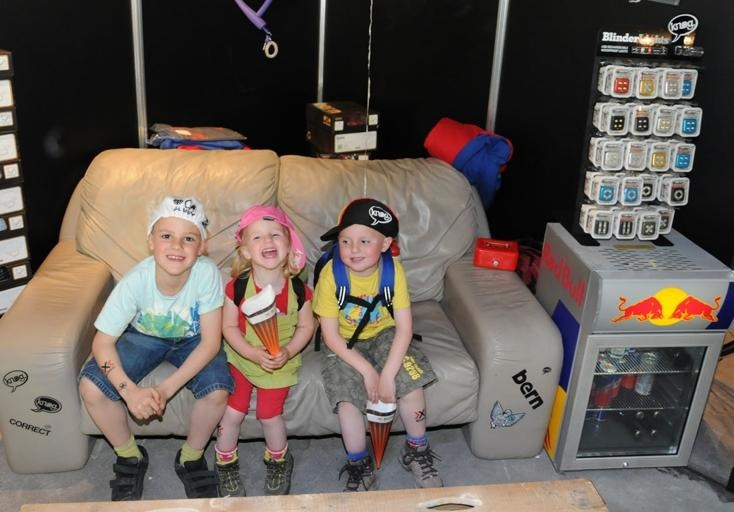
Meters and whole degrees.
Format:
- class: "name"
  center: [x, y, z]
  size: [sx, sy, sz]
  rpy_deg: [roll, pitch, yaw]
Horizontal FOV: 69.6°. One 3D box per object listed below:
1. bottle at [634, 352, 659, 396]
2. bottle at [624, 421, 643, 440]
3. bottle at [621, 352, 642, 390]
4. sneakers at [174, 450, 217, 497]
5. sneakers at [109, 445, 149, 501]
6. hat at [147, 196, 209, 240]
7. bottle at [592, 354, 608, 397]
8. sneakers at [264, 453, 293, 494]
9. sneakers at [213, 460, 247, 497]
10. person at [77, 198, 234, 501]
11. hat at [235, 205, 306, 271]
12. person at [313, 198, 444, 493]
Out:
- class: "bottle"
  center: [1.331, 0.554, 2.538]
  size: [0.071, 0.238, 0.076]
  rpy_deg: [-5, 23, 2]
- class: "bottle"
  center: [1.327, 0.866, 2.626]
  size: [0.061, 0.055, 0.063]
  rpy_deg: [-2, 53, 1]
- class: "bottle"
  center: [1.248, 0.555, 2.490]
  size: [0.061, 0.167, 0.165]
  rpy_deg: [5, 19, 17]
- class: "sneakers"
  center: [-0.767, 0.961, 2.377]
  size: [0.108, 0.122, 0.304]
  rpy_deg: [-18, 44, -24]
- class: "sneakers"
  center: [-1.018, 0.967, 2.305]
  size: [0.106, 0.128, 0.330]
  rpy_deg: [0, 61, -7]
- class: "hat"
  center: [-0.806, -0.146, 2.273]
  size: [0.200, 0.132, 0.201]
  rpy_deg: [6, 4, -11]
- class: "bottle"
  center: [1.093, 0.558, 2.473]
  size: [0.040, 0.162, 0.169]
  rpy_deg: [9, 7, 29]
- class: "sneakers"
  center: [-0.400, 0.983, 2.367]
  size: [0.077, 0.221, 0.100]
  rpy_deg: [-2, -18, 2]
- class: "sneakers"
  center: [-0.600, 0.987, 2.323]
  size: [0.081, 0.091, 0.235]
  rpy_deg: [-9, 63, -23]
- class: "person"
  center: [-0.895, 0.417, 2.240]
  size: [0.609, 1.267, 0.465]
  rpy_deg: [-4, 21, -17]
- class: "hat"
  center: [-0.391, -0.118, 2.390]
  size: [0.242, 0.326, 0.154]
  rpy_deg: [0, 9, 4]
- class: "person"
  center: [0.056, 0.395, 2.393]
  size: [0.605, 1.253, 0.547]
  rpy_deg: [0, 20, -6]
